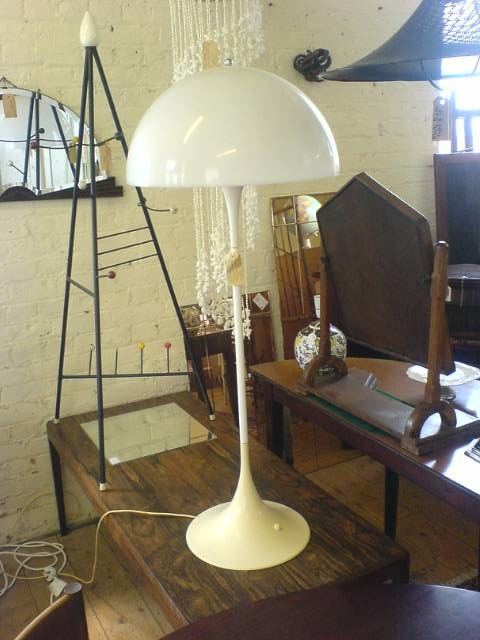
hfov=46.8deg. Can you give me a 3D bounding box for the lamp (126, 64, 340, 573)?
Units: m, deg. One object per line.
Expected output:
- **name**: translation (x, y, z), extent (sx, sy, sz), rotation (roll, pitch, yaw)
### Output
- **lamp**: translation (0.007, 0.054, 1.041), extent (0.348, 0.977, 0.419), rotation (-7, 11, -9)

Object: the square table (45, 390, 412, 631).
- **square table**: translation (-0.089, 0.500, 1.501), extent (0.320, 0.324, 0.739), rotation (-9, 19, -25)
